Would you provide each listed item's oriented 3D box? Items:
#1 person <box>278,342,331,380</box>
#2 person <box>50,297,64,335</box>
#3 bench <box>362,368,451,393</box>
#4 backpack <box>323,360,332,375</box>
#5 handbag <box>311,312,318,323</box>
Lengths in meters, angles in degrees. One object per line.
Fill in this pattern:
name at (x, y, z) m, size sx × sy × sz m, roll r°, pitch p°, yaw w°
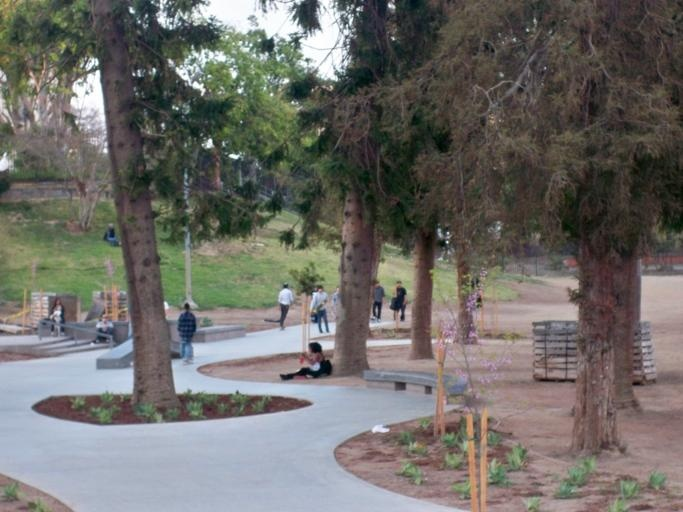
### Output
person at (-1.004, 3.032, 49.256) m, size 1.359 × 1.071 × 2.452 m, roll -1°, pitch -2°, yaw -1°
person at (-9.987, 2.078, 58.788) m, size 0.517 × 1.323 × 3.265 m, roll -1°, pitch -2°, yaw -10°
bench at (1.686, 3.412, 46.255) m, size 2.264 × 0.645 × 0.666 m, roll -3°, pitch -3°, yaw 32°
backpack at (-0.454, 3.218, 48.732) m, size 0.286 × 0.450 × 0.193 m, roll -1°, pitch -2°, yaw -6°
handbag at (-1.121, 2.314, 66.004) m, size 0.386 × 0.518 × 0.426 m, roll -1°, pitch 3°, yaw -3°
